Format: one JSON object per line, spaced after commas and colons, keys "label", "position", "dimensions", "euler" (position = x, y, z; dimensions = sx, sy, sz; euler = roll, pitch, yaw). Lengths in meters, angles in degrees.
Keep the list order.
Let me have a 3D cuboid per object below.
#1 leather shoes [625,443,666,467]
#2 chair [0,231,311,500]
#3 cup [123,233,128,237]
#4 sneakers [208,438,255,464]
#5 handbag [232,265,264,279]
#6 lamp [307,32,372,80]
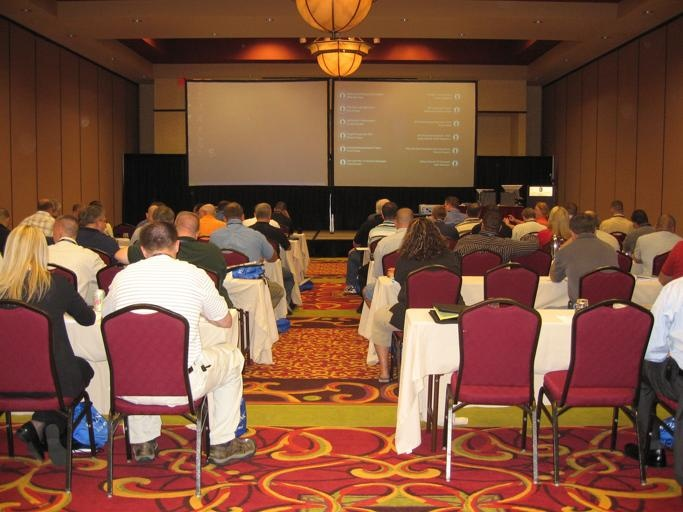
{"label": "leather shoes", "position": [2.126, 1.390, 4.556], "dimensions": [0.238, 0.095, 0.130], "euler": [-3, 9, 26]}
{"label": "chair", "position": [-1.093, 0.640, 4.295], "dimensions": [0.929, 1.702, 0.605], "euler": [-2, 10, -11]}
{"label": "cup", "position": [-3.243, -0.332, 9.783], "dimensions": [0.071, 0.078, 0.054], "euler": [0, 14, -3]}
{"label": "sneakers", "position": [-0.769, 1.385, 4.665], "dimensions": [0.373, 0.202, 0.134], "euler": [-4, 8, -26]}
{"label": "handbag", "position": [-0.951, 0.156, 6.604], "dimensions": [0.207, 0.089, 0.162], "euler": [-3, 7, -1]}
{"label": "lamp", "position": [-0.080, -3.037, 9.659], "dimensions": [0.880, 0.543, 0.681], "euler": [-6, 12, -31]}
